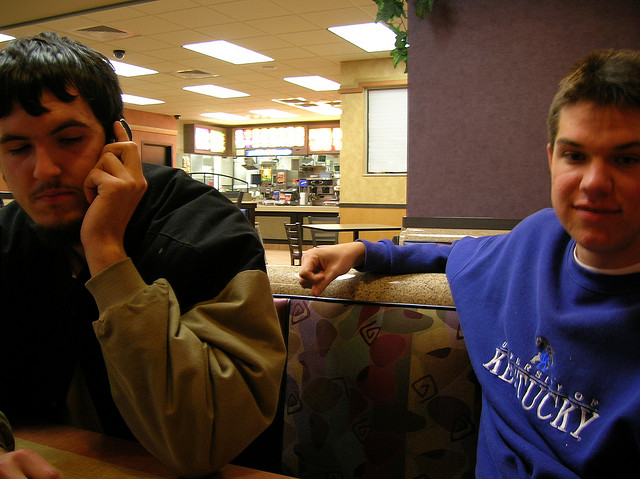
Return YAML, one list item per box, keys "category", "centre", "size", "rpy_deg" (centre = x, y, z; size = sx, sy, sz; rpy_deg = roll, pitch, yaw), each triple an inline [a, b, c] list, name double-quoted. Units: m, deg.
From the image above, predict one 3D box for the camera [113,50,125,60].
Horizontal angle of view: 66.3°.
- category: "camera"
  centre: [-3.028, -2.800, 7.397]
  size: [0.131, 0.090, 0.126]
  rpy_deg: [0, 2, 1]

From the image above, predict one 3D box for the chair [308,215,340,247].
- category: "chair"
  centre: [0.081, -0.146, 8.416]
  size: [0.557, 0.878, 0.597]
  rpy_deg: [-1, -2, -8]

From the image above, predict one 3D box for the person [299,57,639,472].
- category: "person"
  centre: [0.558, 0.185, 1.679]
  size: [0.837, 1.062, 1.078]
  rpy_deg: [-13, -16, 37]
